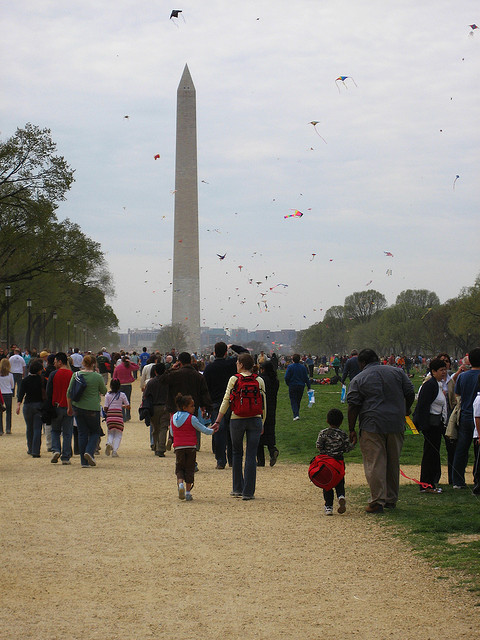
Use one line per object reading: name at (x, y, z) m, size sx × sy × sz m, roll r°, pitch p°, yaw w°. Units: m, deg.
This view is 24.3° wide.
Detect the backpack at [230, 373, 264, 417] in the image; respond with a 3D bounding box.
backpack at (0.070, 0.802, 11.764) m, size 0.338 × 0.451 × 0.256 m, roll -1°, pitch 17°, yaw -5°

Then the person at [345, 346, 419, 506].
person at (1.388, 1.087, 11.131) m, size 0.800 × 1.549 × 0.568 m, roll -1°, pitch 3°, yaw -13°

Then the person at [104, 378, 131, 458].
person at (-1.818, 1.449, 16.298) m, size 0.362 × 1.201 × 1.526 m, roll 0°, pitch 3°, yaw -6°

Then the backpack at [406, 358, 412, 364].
backpack at (9.279, 2.259, 61.327) m, size 0.303 × 0.251 × 0.828 m, roll 5°, pitch 8°, yaw 3°

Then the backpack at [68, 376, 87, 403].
backpack at (-2.034, 0.863, 13.888) m, size 0.102 × 0.259 × 0.247 m, roll 13°, pitch 9°, yaw -42°

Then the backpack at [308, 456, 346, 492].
backpack at (0.833, 1.500, 10.874) m, size 0.257 × 0.348 × 0.353 m, roll -14°, pitch -12°, yaw 2°

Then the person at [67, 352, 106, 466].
person at (-1.960, 1.180, 14.195) m, size 0.454 × 1.464 × 0.711 m, roll 0°, pitch 3°, yaw -3°
